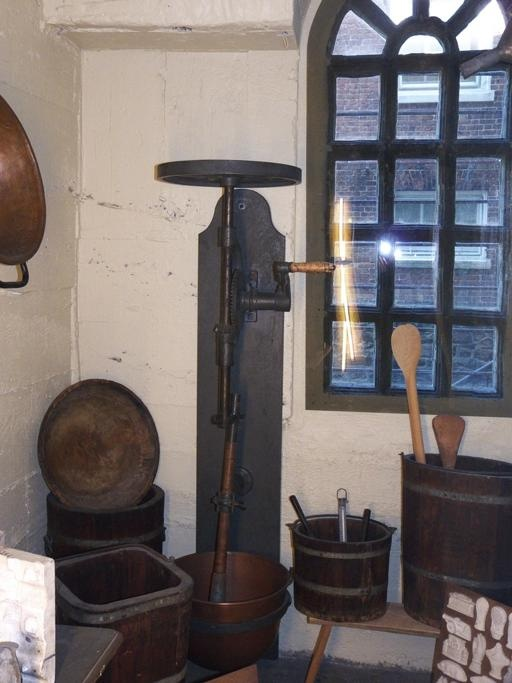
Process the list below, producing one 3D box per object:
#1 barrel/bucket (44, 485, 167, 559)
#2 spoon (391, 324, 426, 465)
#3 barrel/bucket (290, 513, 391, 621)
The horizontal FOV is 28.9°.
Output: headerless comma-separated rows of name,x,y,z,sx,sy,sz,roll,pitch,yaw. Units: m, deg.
barrel/bucket,-0.409,0.503,2.838,0.191,0.210,0.233,1,-3,0
spoon,0.441,0.151,2.797,0.079,0.409,0.054,-2,-2,2
barrel/bucket,0.233,0.628,2.753,0.262,0.235,0.265,3,5,0
